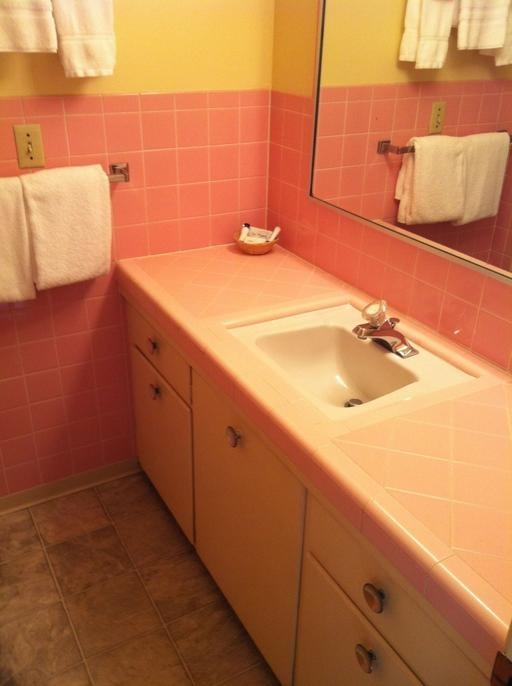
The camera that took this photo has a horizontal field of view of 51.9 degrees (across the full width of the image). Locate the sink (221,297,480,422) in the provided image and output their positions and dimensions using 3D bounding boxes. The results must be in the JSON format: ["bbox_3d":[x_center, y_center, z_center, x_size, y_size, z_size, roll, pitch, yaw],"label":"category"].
[{"bbox_3d":[0.154,0.042,1.278,0.282,0.139,0.345,-15,35,-25],"label":"sink"}]

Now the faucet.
[{"bbox_3d":[0.297,-0.025,1.249,0.109,0.080,0.149,-29,53,-19],"label":"faucet"}]

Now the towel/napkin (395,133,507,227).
[{"bbox_3d":[0.408,-0.342,1.102,0.174,0.188,0.066,-5,22,-8],"label":"towel/napkin"}]
